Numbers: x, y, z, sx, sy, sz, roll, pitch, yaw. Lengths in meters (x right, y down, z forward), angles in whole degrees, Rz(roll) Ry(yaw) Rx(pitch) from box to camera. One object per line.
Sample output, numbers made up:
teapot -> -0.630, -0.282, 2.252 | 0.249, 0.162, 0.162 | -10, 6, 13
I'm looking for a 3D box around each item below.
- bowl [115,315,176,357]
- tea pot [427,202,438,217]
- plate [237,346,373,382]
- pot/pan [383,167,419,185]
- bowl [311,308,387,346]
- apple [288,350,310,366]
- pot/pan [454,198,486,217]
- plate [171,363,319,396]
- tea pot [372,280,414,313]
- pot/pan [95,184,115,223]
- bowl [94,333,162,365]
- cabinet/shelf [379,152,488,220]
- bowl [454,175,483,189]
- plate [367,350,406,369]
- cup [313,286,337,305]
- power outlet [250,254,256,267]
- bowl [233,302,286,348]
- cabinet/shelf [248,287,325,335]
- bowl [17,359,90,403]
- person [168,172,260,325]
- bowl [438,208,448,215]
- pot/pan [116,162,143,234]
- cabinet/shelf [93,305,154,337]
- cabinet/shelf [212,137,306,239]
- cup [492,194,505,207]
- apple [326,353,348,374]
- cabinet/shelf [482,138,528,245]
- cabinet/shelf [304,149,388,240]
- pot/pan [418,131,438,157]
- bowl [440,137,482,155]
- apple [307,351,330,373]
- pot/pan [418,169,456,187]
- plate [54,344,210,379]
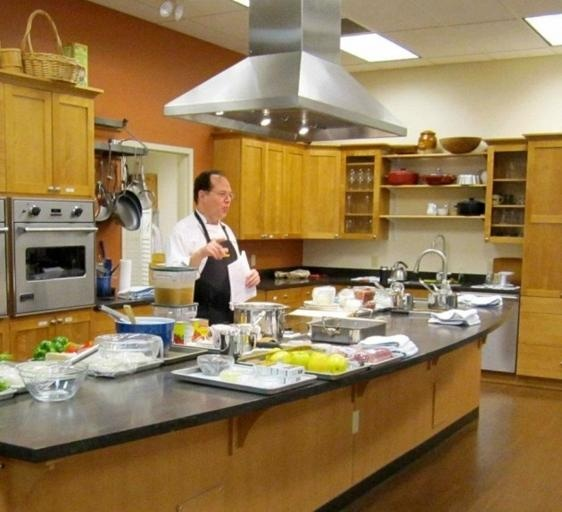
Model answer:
bowl -> -0.550, 0.365, 2.243 | 0.255, 0.143, 0.242 | -1, -9, 0
tea pot -> 1.825, -0.558, 6.237 | 0.118, 0.151, 0.174 | -2, -7, 35
plate -> 0.100, 0.408, 1.984 | 0.233, 0.022, 0.220 | 6, 8, 41
pot/pan -> 1.505, -0.962, 6.275 | 0.372, 0.209, 0.209 | -1, 5, 9
bowl -> 0.346, 0.388, 2.694 | 0.326, 0.103, 0.324 | -1, 5, 0
apple -> 0.067, 0.396, 1.991 | 0.059, 0.053, 0.055 | 0, -1, -30
pot/pan -> 2.180, -0.550, 5.913 | 0.246, 0.142, 0.239 | -2, 4, -41
plate -> -0.141, 0.438, 1.897 | 0.481, 0.060, 0.292 | 1, 5, 27
tea pot -> 0.818, 0.310, 3.736 | 0.326, 0.213, 0.188 | -1, 1, 10
pot/pan -> -1.546, -0.462, 4.402 | 0.159, 0.350, 0.306 | -4, 6, -20
bowl -> -0.600, 0.345, 1.951 | 0.158, 0.051, 0.134 | 1, 0, 5
cabinet/shelf -> 1.882, -0.859, 6.176 | 0.977, 0.593, 0.278 | 1, 8, 15
bowl -> 2.200, -0.875, 5.934 | 0.276, 0.139, 0.182 | 0, 5, 22
plate -> 0.444, 0.443, 2.254 | 0.089, 0.034, 0.128 | 5, 7, 44
cup -> 0.298, 0.266, 3.509 | 0.139, 0.091, 0.130 | -1, 6, 0
power outlet -> -0.366, 0.055, 6.243 | 0.027, 0.180, 0.171 | 1, 1, 29
bowl -> -0.094, 0.312, 2.367 | 0.223, 0.145, 0.190 | 1, 0, -19
cabinet/shelf -> 0.055, 0.698, 5.579 | 0.277, 0.614, 0.723 | 1, 2, 33
bowl -> -0.717, 0.360, 1.565 | 0.148, 0.066, 0.153 | 2, 2, 0
person -> -0.463, 0.175, 3.508 | 0.553, 1.417, 0.721 | 5, 16, 10
bowl -> 1.928, -0.521, 6.095 | 0.087, 0.058, 0.088 | 1, 0, 0
pot/pan -> -1.350, -0.472, 4.452 | 0.096, 0.512, 0.309 | -4, -3, 24
cabinet/shelf -> -1.290, 0.522, 4.196 | 0.343, 0.334, 0.536 | -1, -5, 18
cabinet/shelf -> -0.280, -0.748, 5.508 | 0.502, 1.143, 1.433 | 1, 1, 38
cup -> 2.423, -0.618, 5.692 | 0.149, 0.096, 0.102 | 3, -4, -34
apple -> 0.211, 0.414, 1.964 | 0.072, 0.064, 0.066 | 0, 0, -7
cabinet/shelf -> 2.502, -0.704, 5.700 | 0.438, 1.137, 0.428 | 0, 6, 21
cabinet/shelf -> 0.818, -0.816, 6.409 | 1.247, 1.303, 0.666 | 0, -1, 8
pot/pan -> 1.761, -1.355, 6.144 | 0.223, 0.271, 0.148 | -1, 6, 4
bowl -> 2.061, -1.265, 5.866 | 0.293, 0.094, 0.284 | -1, 1, 0
apple -> 0.138, 0.410, 1.970 | 0.069, 0.065, 0.069 | -8, 8, -22
pot/pan -> 1.886, -0.942, 6.160 | 0.435, 0.218, 0.351 | 0, 5, 19
plate -> -0.547, 0.397, 1.985 | 0.187, 0.028, 0.303 | 4, 4, 32
